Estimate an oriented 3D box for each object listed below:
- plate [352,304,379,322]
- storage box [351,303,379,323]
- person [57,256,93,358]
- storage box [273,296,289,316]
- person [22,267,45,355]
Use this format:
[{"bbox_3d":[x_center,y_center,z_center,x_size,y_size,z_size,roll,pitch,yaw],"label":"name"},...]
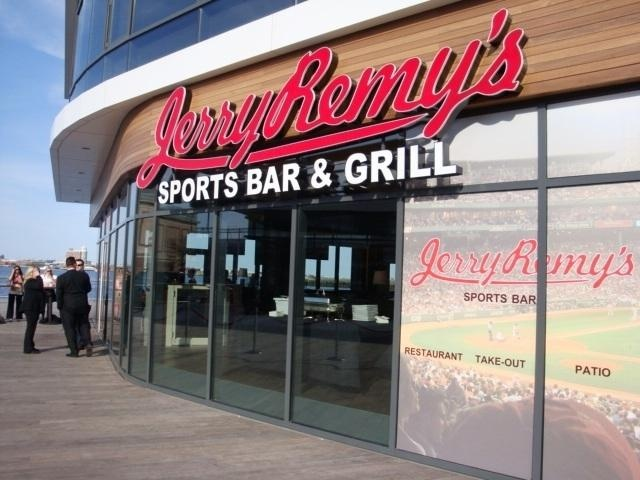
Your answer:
[{"bbox_3d":[0.670,1.068,8.003,0.320,0.179,0.306,2,-6,-18],"label":"plate"},{"bbox_3d":[0.630,1.086,7.988,0.330,0.184,0.311,1,-7,-6],"label":"storage box"},{"bbox_3d":[-5.129,1.421,11.317,0.549,2.131,0.760,2,1,12],"label":"person"},{"bbox_3d":[-0.550,0.945,7.690,0.271,0.283,0.264,-6,-13,34],"label":"storage box"},{"bbox_3d":[-6.159,1.529,11.536,0.374,1.866,0.833,2,1,-28],"label":"person"}]
